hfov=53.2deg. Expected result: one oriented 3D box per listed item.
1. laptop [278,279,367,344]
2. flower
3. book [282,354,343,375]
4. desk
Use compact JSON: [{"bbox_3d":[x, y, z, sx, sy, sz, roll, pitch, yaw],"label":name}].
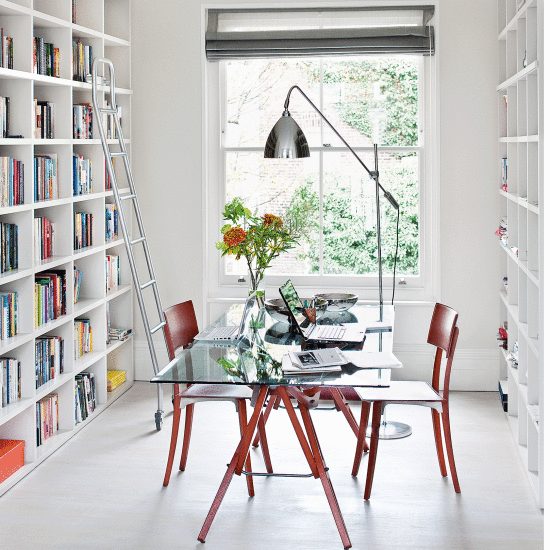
[{"bbox_3d":[0.216,0.168,2.515,0.182,0.316,0.314,-19,-3,14],"label":"laptop"},{"bbox_3d":[-0.084,-0.244,3.807,0.639,0.826,0.580,0,-5,-11],"label":"flower"},{"bbox_3d":[0.132,0.314,1.974,0.211,0.042,0.254,-1,3,4],"label":"book"},{"bbox_3d":[-0.128,0.584,2.401,0.804,0.832,1.370,-1,3,-2],"label":"desk"}]
